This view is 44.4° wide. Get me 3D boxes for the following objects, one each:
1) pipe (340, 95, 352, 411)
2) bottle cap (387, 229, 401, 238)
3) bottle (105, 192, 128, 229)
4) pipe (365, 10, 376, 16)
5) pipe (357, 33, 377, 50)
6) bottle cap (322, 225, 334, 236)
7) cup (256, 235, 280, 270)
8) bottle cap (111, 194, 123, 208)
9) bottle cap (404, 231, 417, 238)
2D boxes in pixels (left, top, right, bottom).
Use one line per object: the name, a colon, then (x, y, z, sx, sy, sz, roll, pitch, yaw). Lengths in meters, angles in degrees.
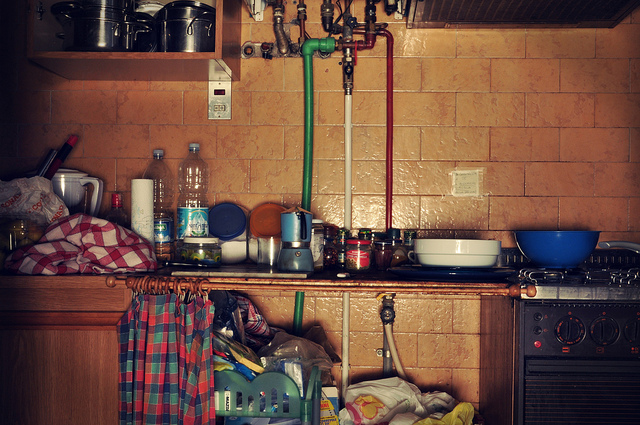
pipe: (0.136, 0.190, 4.024, 0.098, 0.063, 1.333, 2, 95, 5)
bottle cap: (0.376, 0.107, 4.005, 0.065, 0.035, 0.044, 4, 64, -6)
bottle: (-1.025, 0.019, 3.998, 0.112, 0.068, 0.254, -6, 113, -23)
pipe: (0.256, -1.008, 3.981, 0.042, 0.028, 0.022, 1, 65, -8)
pipe: (0.242, -0.877, 4.010, 0.102, 0.065, 0.065, -2, 65, -9)
bottle cap: (0.043, 0.087, 3.962, 0.048, 0.048, 0.040, 1, 98, -2)
cup: (-0.256, 0.189, 3.897, 0.145, 0.118, 0.147, 0, 93, 5)
bottle cap: (-1.003, -0.062, 3.882, 0.060, 0.060, 0.067, 0, 91, -25)
bottle cap: (0.455, 0.111, 3.960, 0.061, 0.035, 0.039, 3, 64, -6)
